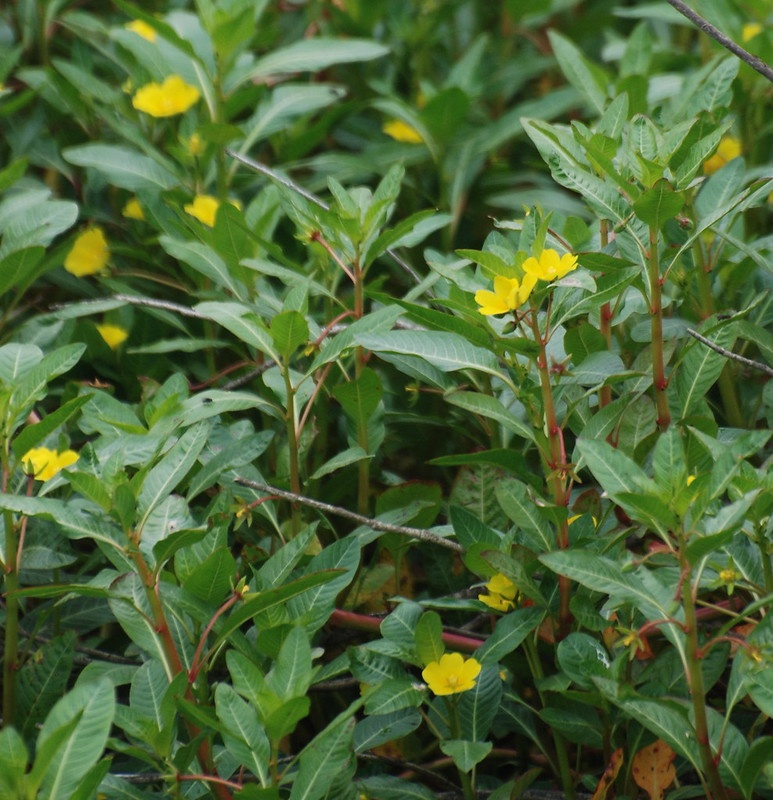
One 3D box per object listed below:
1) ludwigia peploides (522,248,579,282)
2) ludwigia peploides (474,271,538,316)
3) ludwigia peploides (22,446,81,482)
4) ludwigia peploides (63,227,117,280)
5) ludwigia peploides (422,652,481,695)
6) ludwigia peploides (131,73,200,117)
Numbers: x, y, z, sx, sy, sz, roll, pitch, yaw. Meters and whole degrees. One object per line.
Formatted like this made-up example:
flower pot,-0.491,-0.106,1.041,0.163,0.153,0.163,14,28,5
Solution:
ludwigia peploides,0.238,-0.193,1.835,0.070,0.023,0.055,1,49,4
ludwigia peploides,0.171,-0.149,1.790,0.092,0.066,0.070,-3,49,-4
ludwigia peploides,-0.517,0.097,1.926,0.085,0.031,0.084,7,16,38
ludwigia peploides,-0.541,-0.270,2.348,0.062,0.069,0.112,26,52,19
ludwigia peploides,0.092,0.400,1.796,0.080,0.099,0.057,4,51,2
ludwigia peploides,-0.388,-0.534,2.238,0.098,0.036,0.090,25,65,18
